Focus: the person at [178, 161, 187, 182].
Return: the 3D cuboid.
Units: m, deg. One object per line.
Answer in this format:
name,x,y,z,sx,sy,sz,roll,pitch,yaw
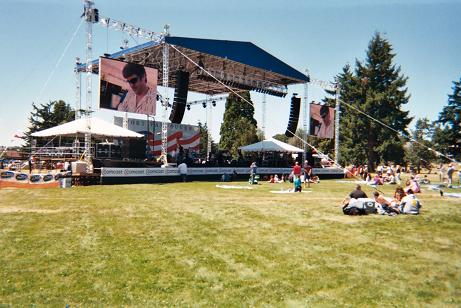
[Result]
person,-3.824,1.469,32.350,0.672,1.479,1.569,1,-2,-6
